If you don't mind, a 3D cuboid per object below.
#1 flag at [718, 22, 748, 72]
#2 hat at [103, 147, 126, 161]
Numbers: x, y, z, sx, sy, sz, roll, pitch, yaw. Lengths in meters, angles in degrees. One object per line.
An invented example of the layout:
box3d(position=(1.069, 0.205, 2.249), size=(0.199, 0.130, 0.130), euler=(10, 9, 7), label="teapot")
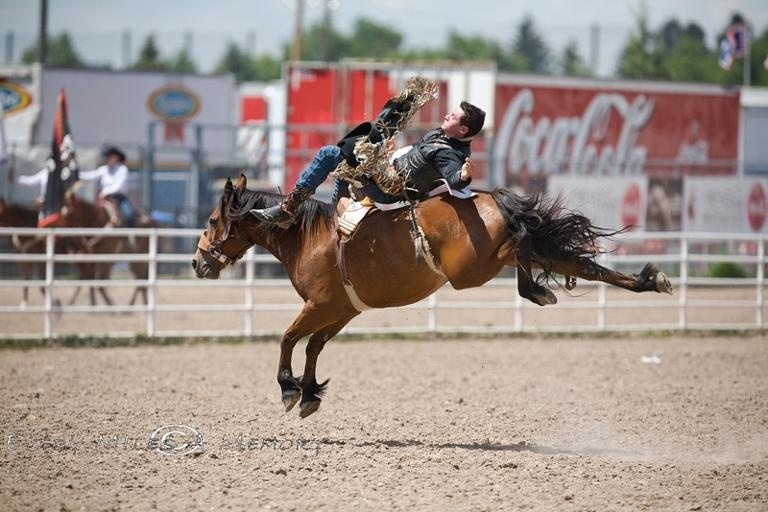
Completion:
box3d(position=(4.919, -2.925, 21.770), size=(0.266, 0.616, 0.449), euler=(11, -8, -36), label="flag")
box3d(position=(-4.181, -1.582, 24.034), size=(0.215, 0.140, 0.276), euler=(-1, -5, 43), label="hat")
